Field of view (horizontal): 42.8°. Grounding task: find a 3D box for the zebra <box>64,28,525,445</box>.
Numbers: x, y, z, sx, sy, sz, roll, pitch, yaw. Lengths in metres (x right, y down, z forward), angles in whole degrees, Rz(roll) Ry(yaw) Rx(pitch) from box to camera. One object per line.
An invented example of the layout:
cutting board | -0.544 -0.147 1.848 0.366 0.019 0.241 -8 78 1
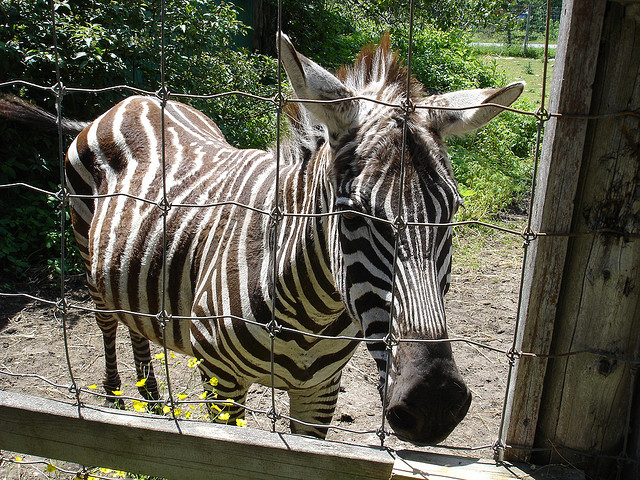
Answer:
zebra | -0.416 0.284 5.400 1.360 2.940 3.958 -7 15 -33
